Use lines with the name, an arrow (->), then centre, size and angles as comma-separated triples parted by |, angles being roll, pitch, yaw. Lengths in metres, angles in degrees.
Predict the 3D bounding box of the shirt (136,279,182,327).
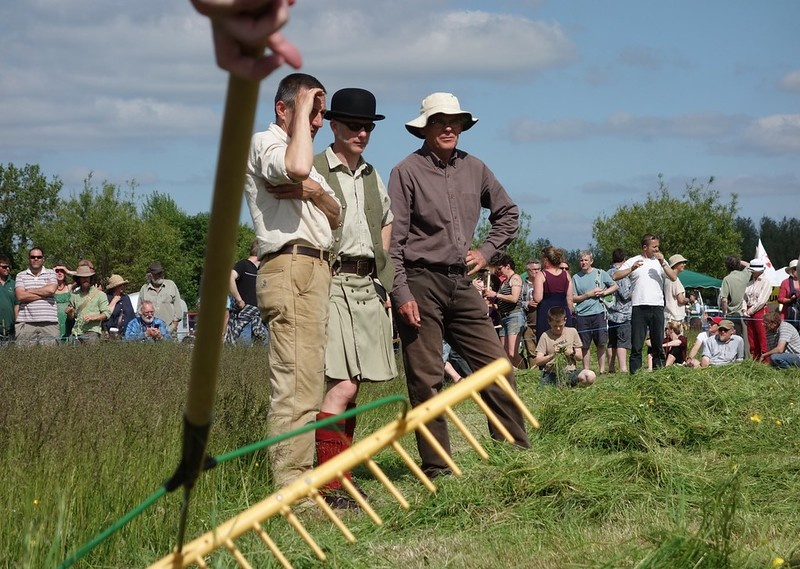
shirt -> -3.904, 0.319, 15.216 | 0.681, 0.803, 0.297 | -3, 27, -15

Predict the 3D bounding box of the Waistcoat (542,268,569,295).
Waistcoat -> 2.280, -0.027, 13.938 | 0.349, 0.348, 0.381 | -2, 0, 11

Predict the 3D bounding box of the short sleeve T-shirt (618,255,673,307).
short sleeve T-shirt -> 3.757, -0.004, 14.453 | 0.669, 0.687, 0.393 | -5, -22, 18

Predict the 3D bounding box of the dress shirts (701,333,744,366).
dress shirts -> 4.830, 0.992, 14.162 | 0.427, 0.419, 0.258 | 1, -9, 25

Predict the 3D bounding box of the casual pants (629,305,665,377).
casual pants -> 3.848, 0.795, 14.703 | 0.540, 1.295, 0.379 | -4, 25, 6

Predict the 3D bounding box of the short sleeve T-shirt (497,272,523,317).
short sleeve T-shirt -> 1.600, 0.164, 13.965 | 0.390, 0.736, 0.594 | 3, -4, -19

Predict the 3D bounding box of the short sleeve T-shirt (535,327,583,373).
short sleeve T-shirt -> 1.920, 0.838, 11.771 | 0.669, 0.690, 0.468 | -1, -21, 8

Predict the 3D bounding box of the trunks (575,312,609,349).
trunks -> 3.044, 0.733, 15.002 | 0.454, 0.669, 0.244 | -9, -31, 21

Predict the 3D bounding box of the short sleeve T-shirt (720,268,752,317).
short sleeve T-shirt -> 5.780, 0.167, 16.246 | 0.696, 0.913, 0.321 | 8, -5, -11

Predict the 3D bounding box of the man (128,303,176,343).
man -> -3.950, 0.666, 14.669 | 0.620, 0.754, 0.775 | -6, 10, -31

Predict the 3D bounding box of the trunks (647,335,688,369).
trunks -> 4.164, 1.069, 14.790 | 0.573, 0.597, 0.472 | 6, -9, -35

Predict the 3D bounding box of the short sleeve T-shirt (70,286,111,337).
short sleeve T-shirt -> -4.828, 0.433, 14.559 | 0.686, 0.812, 0.436 | 0, -11, 6

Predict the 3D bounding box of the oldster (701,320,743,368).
oldster -> 4.864, 0.865, 14.317 | 0.610, 0.705, 0.776 | -2, 0, 17

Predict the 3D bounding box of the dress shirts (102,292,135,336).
dress shirts -> -4.574, 0.466, 15.351 | 0.462, 0.657, 0.346 | -3, 2, -27

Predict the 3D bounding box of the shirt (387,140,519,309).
shirt -> 0.456, -0.525, 8.030 | 1.067, 1.436, 0.502 | -1, 19, -4

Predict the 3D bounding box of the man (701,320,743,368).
man -> 4.856, 0.866, 14.295 | 0.607, 0.705, 0.727 | -2, 0, 18

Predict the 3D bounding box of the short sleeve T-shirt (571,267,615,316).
short sleeve T-shirt -> 3.037, 0.106, 15.092 | 0.773, 0.717, 0.299 | -7, 9, 12

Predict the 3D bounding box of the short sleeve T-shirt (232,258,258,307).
short sleeve T-shirt -> -2.158, -0.012, 12.997 | 0.328, 0.634, 0.654 | 2, 4, 26

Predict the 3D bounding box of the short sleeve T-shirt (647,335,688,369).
short sleeve T-shirt -> 4.164, 1.069, 14.790 | 0.573, 0.597, 0.472 | 6, -9, -35

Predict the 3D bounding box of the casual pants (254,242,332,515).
casual pants -> -0.757, 0.574, 6.856 | 0.497, 1.746, 0.568 | -2, 11, -11

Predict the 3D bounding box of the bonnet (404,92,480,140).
bonnet -> 0.341, -1.459, 8.001 | 0.625, 0.286, 0.569 | -7, 0, 36

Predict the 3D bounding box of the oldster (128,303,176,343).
oldster -> -3.945, 0.668, 14.644 | 0.618, 0.755, 0.812 | -6, 12, -35

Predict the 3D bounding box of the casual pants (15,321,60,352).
casual pants -> -5.172, 0.775, 13.287 | 0.642, 0.475, 0.361 | 1, -18, -9
